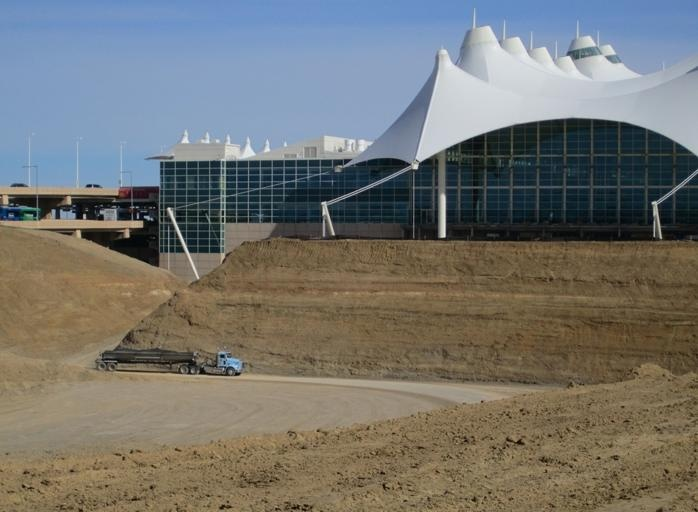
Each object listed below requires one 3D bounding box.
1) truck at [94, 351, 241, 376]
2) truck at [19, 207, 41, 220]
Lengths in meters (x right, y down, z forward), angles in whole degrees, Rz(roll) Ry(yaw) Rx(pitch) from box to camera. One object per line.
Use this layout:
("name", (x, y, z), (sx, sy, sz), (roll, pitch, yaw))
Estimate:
("truck", (-9.820, 5.843, 70.411), (4.866, 0.901, 1.128), (1, 3, 6))
("truck", (-27.116, -3.445, 111.694), (1.196, 0.879, 1.687), (-3, -3, 23))
